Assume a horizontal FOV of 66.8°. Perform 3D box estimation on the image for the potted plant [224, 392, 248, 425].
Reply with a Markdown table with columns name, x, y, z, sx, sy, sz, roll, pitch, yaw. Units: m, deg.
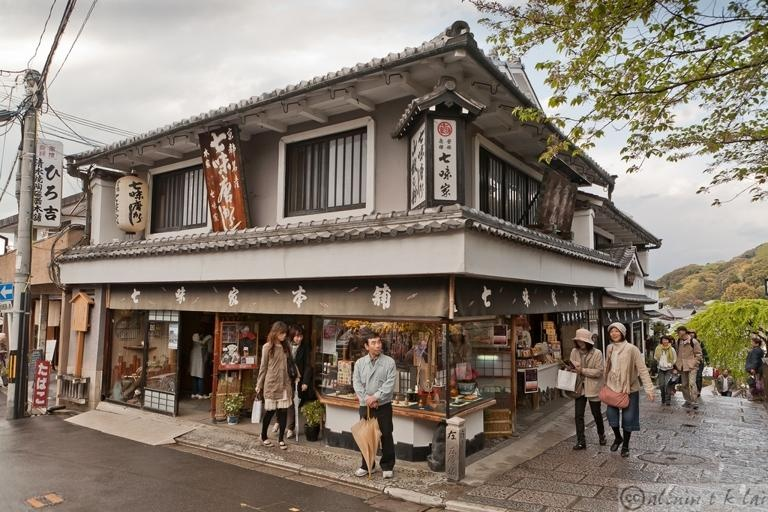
| name | x | y | z | sx | sy | sz | roll | pitch | yaw |
| --- | --- | --- | --- | --- | --- | --- | --- | --- | --- |
| potted plant | -4.253 | 4.351 | 16.609 | 0.469 | 0.791 | 0.570 | 4 | 7 | 44 |

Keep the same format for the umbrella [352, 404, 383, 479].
| name | x | y | z | sx | sy | sz | roll | pitch | yaw |
| --- | --- | --- | --- | --- | --- | --- | --- | --- | --- |
| umbrella | -0.388 | 4.194 | 13.197 | 0.629 | 1.552 | 0.363 | -1 | 5 | -2 |

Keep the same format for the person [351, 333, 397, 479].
| name | x | y | z | sx | sy | sz | roll | pitch | yaw |
| --- | --- | --- | --- | --- | --- | --- | --- | --- | --- |
| person | -0.238 | 3.451 | 13.384 | 1.077 | 3.150 | 0.902 | -3 | -6 | 17 |

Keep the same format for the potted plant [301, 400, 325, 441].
| name | x | y | z | sx | sy | sz | roll | pitch | yaw |
| --- | --- | --- | --- | --- | --- | --- | --- | --- | --- |
| potted plant | -1.825 | 4.367 | 15.390 | 0.982 | 1.136 | 0.840 | 1 | -8 | -8 |

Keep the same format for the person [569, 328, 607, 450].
| name | x | y | z | sx | sy | sz | roll | pitch | yaw |
| --- | --- | --- | --- | --- | --- | --- | --- | --- | --- |
| person | 5.229 | 3.318 | 14.667 | 1.001 | 2.709 | 1.171 | -2 | -3 | 41 |

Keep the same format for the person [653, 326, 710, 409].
| name | x | y | z | sx | sy | sz | roll | pitch | yaw |
| --- | --- | --- | --- | --- | --- | --- | --- | --- | --- |
| person | 9.502 | 3.547 | 18.655 | 1.342 | 2.725 | 0.961 | 2 | -3 | -45 |

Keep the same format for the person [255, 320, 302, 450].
| name | x | y | z | sx | sy | sz | roll | pitch | yaw |
| --- | --- | --- | --- | --- | --- | --- | --- | --- | --- |
| person | -2.688 | 3.299 | 14.892 | 1.248 | 3.042 | 0.862 | 2 | -9 | -26 |

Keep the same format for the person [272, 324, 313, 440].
| name | x | y | z | sx | sy | sz | roll | pitch | yaw |
| --- | --- | --- | --- | --- | --- | --- | --- | --- | --- |
| person | -2.286 | 3.337 | 15.228 | 0.931 | 2.718 | 0.901 | 6 | -4 | -24 |
